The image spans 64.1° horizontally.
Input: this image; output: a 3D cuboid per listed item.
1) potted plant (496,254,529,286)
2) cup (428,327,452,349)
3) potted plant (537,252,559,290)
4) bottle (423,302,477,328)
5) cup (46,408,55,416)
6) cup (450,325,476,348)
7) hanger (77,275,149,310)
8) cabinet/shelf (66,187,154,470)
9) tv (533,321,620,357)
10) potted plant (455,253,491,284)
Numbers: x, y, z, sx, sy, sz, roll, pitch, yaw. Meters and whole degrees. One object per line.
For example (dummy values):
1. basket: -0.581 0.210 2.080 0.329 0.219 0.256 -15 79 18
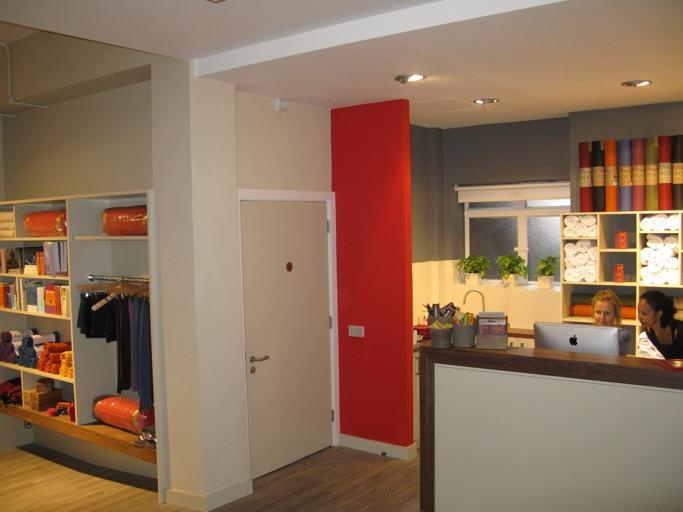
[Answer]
1. potted plant: 2.257 0.169 7.192 0.392 0.396 0.379 1 2 28
2. cup: 0.749 0.623 4.228 0.159 0.123 0.145 0 -1 -19
3. potted plant: 2.645 0.189 6.960 0.366 0.401 0.230 -6 8 -32
4. bottle: 0.896 0.465 4.399 0.327 0.142 0.387 0 -1 24
5. cup: -3.156 1.673 5.883 0.078 0.070 0.059 1 -6 3
6. cup: 0.930 0.599 4.160 0.171 0.149 0.163 1 -1 0
7. hanger: -2.293 0.299 5.452 0.490 0.144 0.493 -5 10 -34
8. cabinet/shelf: -2.144 0.613 5.382 1.489 2.495 0.755 4 9 40
9. tv: 1.723 0.600 4.044 0.584 0.201 0.258 1 8 24
10. potted plant: 1.776 0.149 7.392 0.392 0.278 0.364 -2 4 -30
